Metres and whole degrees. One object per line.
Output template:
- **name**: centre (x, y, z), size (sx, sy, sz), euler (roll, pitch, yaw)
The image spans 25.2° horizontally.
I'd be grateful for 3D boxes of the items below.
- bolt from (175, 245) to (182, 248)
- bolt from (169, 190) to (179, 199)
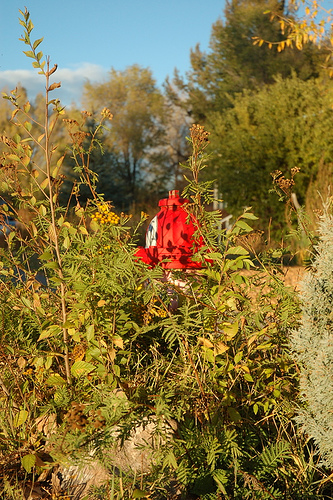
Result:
- **bolt**: centre (0.052, -0.014, 3.403), size (0.020, 0.011, 0.011), euler (-1, 1, 40)
- **bolt**: centre (0.037, -0.269, 3.652), size (0.047, 0.029, 0.045), euler (-1, -1, -17)
